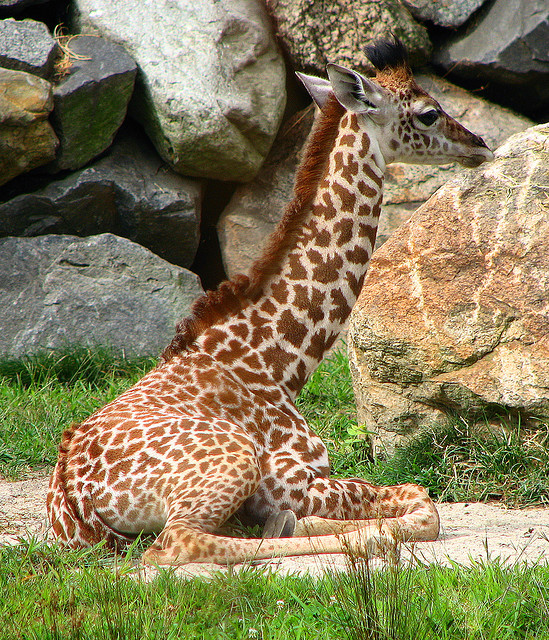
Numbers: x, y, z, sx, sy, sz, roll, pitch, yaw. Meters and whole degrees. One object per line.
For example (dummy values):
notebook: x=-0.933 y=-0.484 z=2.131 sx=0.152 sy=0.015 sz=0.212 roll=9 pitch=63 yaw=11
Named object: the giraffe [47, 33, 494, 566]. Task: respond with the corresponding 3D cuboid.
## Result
giraffe: x=0.023 y=-0.174 z=5.662 sx=2.240 sy=2.557 sz=1.194 roll=-11 pitch=14 yaw=-42
